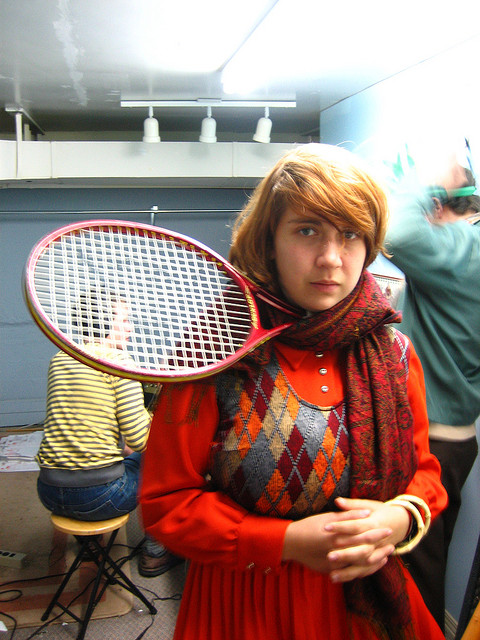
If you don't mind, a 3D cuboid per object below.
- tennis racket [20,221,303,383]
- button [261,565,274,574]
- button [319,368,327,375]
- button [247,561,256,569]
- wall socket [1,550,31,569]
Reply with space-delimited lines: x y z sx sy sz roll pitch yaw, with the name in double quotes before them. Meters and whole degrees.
"tennis racket" -0.135 -0.005 0.719 0.455 0.188 0.026 10 -41 -32
"button" 0.037 0.331 0.700 0.016 0.010 0.005 12 4 25
"button" 0.121 0.075 0.767 0.010 0.008 0.002 1 -16 7
"button" 0.014 0.327 0.702 0.009 0.014 0.004 3 10 10
"wall socket" -0.954 1.006 2.215 0.106 0.024 0.055 7 -1 12
